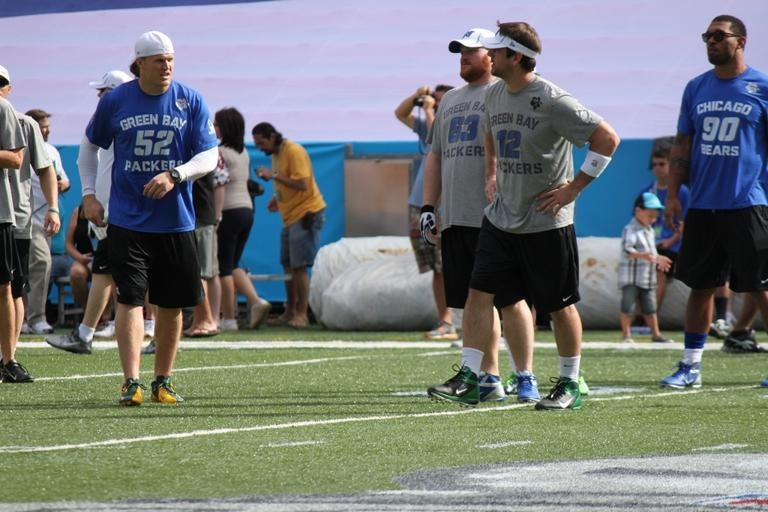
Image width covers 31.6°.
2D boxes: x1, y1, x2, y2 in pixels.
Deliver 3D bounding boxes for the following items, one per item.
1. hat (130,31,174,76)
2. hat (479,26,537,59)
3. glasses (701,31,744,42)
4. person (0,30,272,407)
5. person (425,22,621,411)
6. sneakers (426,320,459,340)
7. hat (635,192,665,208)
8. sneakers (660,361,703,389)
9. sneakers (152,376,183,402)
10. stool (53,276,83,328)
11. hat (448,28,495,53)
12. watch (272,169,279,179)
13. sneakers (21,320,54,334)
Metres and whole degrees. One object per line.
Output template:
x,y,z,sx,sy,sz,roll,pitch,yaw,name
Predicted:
-1.613,-1.482,9.542,0.239,0.211,0.250,-2,2,-41,hat
0.867,-1.448,9.411,0.304,0.092,0.200,19,7,4,hat
2.486,-1.640,10.204,0.295,0.086,0.128,1,2,37,glasses
-1.656,-0.143,9.595,0.976,2.356,0.468,-1,1,1,person
1.087,-0.282,9.473,0.971,2.672,0.409,-1,1,8,person
0.618,0.789,14.102,0.366,0.158,0.144,-1,-6,9,sneakers
2.674,-0.563,13.779,0.226,0.111,0.162,14,12,37,hat
2.259,0.913,10.395,0.379,0.160,0.142,4,-6,-24,sneakers
-1.479,0.957,9.621,0.320,0.138,0.117,0,2,45,sneakers
-3.951,0.589,16.636,0.392,0.419,0.339,-18,-20,15,stool
0.697,-1.619,10.028,0.227,0.117,0.364,-4,-2,40,hat
-1.215,-0.903,15.130,0.059,0.091,0.094,5,13,28,watch
-3.734,0.769,14.687,0.395,0.159,0.137,-2,-4,13,sneakers
